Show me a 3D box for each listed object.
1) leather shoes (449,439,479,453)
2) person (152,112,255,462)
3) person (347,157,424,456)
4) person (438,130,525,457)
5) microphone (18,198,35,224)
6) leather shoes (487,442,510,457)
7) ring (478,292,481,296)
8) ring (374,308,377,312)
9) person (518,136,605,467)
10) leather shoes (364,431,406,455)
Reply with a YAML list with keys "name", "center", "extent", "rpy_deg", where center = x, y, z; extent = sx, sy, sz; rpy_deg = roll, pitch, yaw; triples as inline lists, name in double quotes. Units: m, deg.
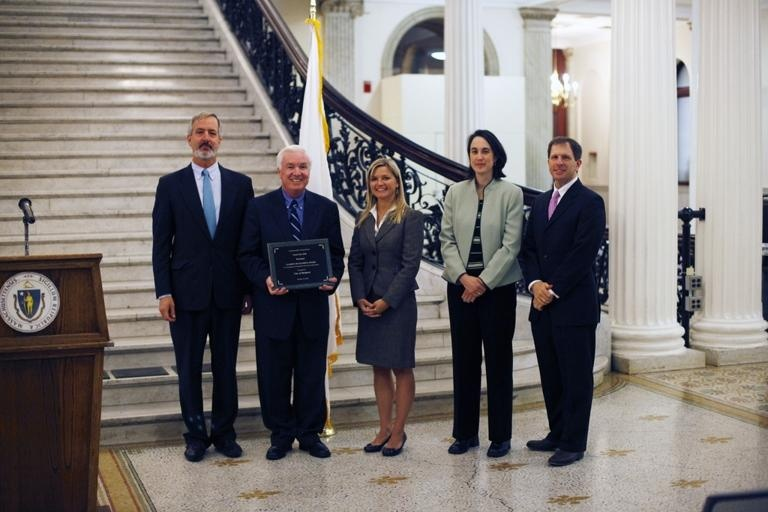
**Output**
- name: "leather shoes"
  center: [0.583, 1.413, 5.599]
  extent: [0.190, 0.094, 0.089]
  rpy_deg: [-1, 4, -30]
- name: "person"
  center: [-1.290, 0.391, 5.476]
  extent: [0.708, 2.131, 0.490]
  rpy_deg: [-2, 10, -10]
- name: "person"
  center: [0.024, 0.374, 5.593]
  extent: [0.541, 2.134, 0.536]
  rpy_deg: [-2, 10, -8]
- name: "person"
  center: [0.702, 0.277, 5.518]
  extent: [0.591, 2.326, 0.501]
  rpy_deg: [1, 10, 5]
- name: "microphone"
  center: [-2.190, -0.265, 4.635]
  extent: [0.068, 0.168, 0.294]
  rpy_deg: [-5, 11, -23]
- name: "leather shoes"
  center: [0.828, 1.410, 5.495]
  extent: [0.077, 0.076, 0.176]
  rpy_deg: [-2, -3, 37]
- name: "ring"
  center: [0.682, 0.279, 5.408]
  extent: [0.020, 0.020, 0.021]
  rpy_deg: [2, 16, -1]
- name: "ring"
  center: [-0.063, 0.401, 5.454]
  extent: [0.030, 0.019, 0.002]
  rpy_deg: [4, 11, 23]
- name: "person"
  center: [1.318, 0.307, 5.500]
  extent: [0.537, 2.273, 0.724]
  rpy_deg: [-2, 10, -10]
- name: "leather shoes"
  center: [0.009, 1.383, 5.580]
  extent: [0.163, 0.086, 0.230]
  rpy_deg: [1, 1, 41]
